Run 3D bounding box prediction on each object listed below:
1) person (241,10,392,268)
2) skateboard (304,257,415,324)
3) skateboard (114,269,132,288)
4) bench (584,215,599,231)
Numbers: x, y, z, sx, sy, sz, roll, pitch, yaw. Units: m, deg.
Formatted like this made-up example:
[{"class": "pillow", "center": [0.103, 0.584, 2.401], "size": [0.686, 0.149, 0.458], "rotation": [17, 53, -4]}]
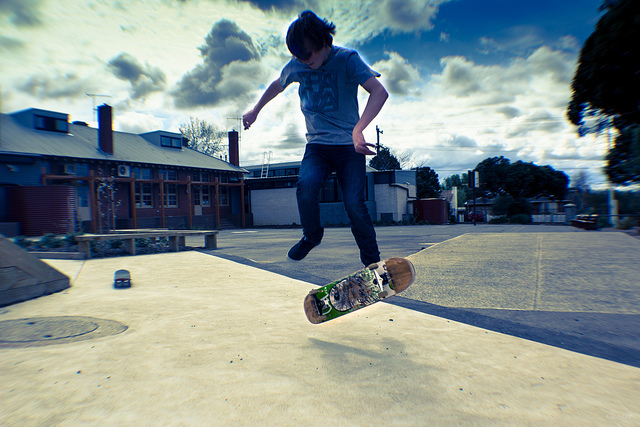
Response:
[{"class": "person", "center": [0.004, -0.645, 3.586], "size": [1.239, 2.306, 0.672], "rotation": [5, 13, 23]}, {"class": "skateboard", "center": [0.268, 0.756, 3.641], "size": [1.496, 0.389, 0.250], "rotation": [-19, -7, 20]}, {"class": "skateboard", "center": [-2.560, 0.841, 4.927], "size": [0.171, 0.209, 0.219], "rotation": [1, -12, -29]}, {"class": "bench", "center": [11.879, 0.353, 16.694], "size": [0.775, 0.725, 0.204], "rotation": [4, -13, 24]}]
